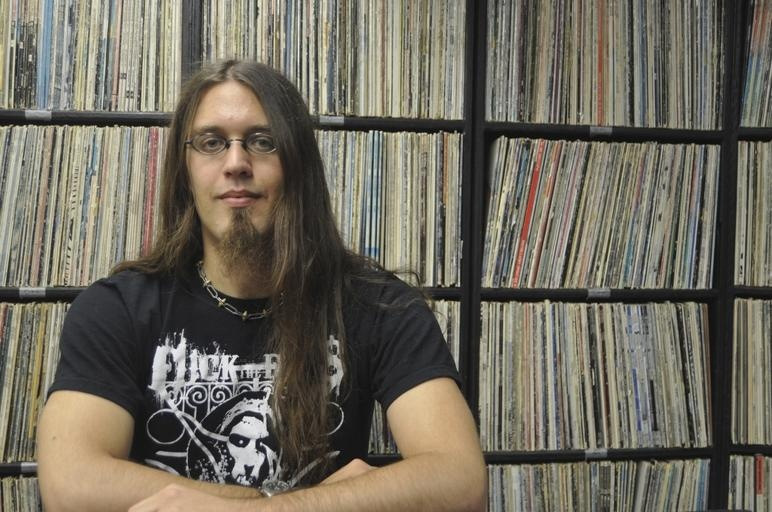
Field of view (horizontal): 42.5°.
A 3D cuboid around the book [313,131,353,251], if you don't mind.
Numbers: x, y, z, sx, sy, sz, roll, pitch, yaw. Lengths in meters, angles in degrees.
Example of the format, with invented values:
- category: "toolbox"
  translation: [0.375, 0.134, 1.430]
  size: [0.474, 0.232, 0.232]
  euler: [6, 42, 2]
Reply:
- category: "book"
  translation: [-0.180, -0.238, 3.561]
  size: [0.064, 0.344, 0.282]
  euler: [-1, 3, -21]

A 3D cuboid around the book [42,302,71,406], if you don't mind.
- category: "book"
  translation: [-1.093, 0.338, 3.261]
  size: [0.030, 0.343, 0.260]
  euler: [6, -13, -18]

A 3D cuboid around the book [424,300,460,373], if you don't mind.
- category: "book"
  translation: [0.171, 0.312, 3.613]
  size: [0.154, 0.265, 0.246]
  euler: [-4, -5, 1]

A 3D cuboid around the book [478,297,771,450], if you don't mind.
- category: "book"
  translation: [0.759, 0.441, 3.615]
  size: [0.851, 0.489, 0.164]
  euler: [0, -19, -3]

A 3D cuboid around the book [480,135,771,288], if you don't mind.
- category: "book"
  translation: [0.867, -0.159, 3.626]
  size: [0.751, 0.514, 0.206]
  euler: [1, 3, -2]

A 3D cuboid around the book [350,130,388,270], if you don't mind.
- category: "book"
  translation: [-0.071, -0.215, 3.459]
  size: [0.227, 0.391, 0.086]
  euler: [1, -3, 0]
